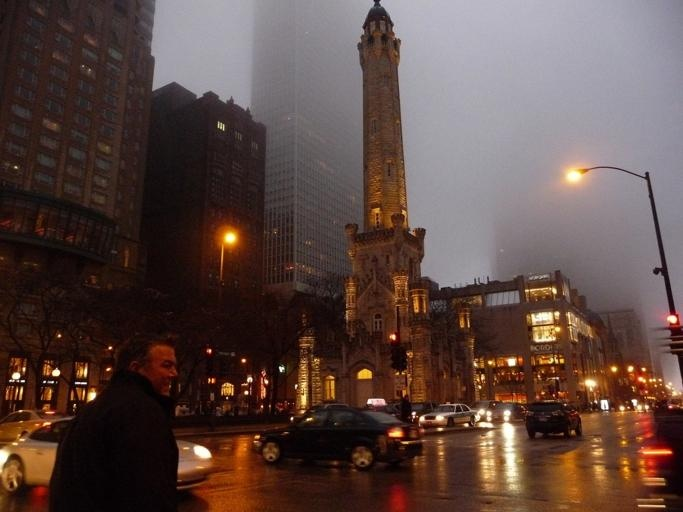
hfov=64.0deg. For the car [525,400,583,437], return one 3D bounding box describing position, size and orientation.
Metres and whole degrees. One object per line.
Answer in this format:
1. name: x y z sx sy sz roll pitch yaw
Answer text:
1. car: 10.057 7.733 25.942 3.544 1.722 1.276 7 -20 -32
